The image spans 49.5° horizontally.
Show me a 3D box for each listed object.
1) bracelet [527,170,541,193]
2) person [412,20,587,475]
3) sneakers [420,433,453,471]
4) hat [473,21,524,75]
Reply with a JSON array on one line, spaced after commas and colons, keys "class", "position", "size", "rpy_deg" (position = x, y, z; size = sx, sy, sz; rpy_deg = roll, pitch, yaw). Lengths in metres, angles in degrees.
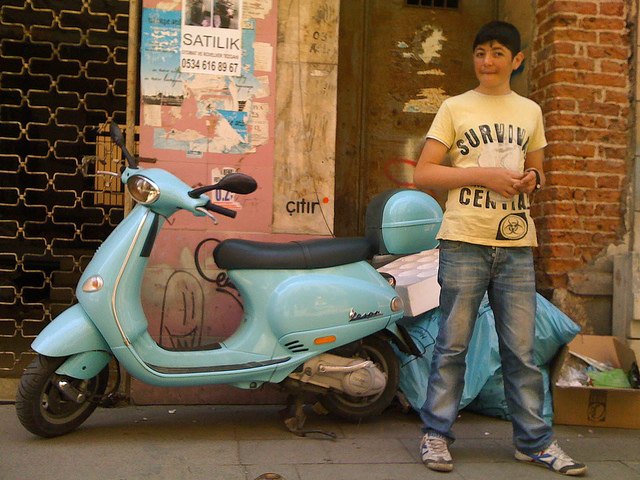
[{"class": "bracelet", "position": [1.439, -0.392, 4.612], "size": [0.055, 0.143, 0.127], "rpy_deg": [-3, 22, 1]}, {"class": "person", "position": [1.123, 0.033, 4.640], "size": [1.013, 2.965, 0.653], "rpy_deg": [2, 9, 6]}, {"class": "sneakers", "position": [0.781, 1.415, 4.650], "size": [0.215, 0.214, 0.178], "rpy_deg": [3, 9, 10]}, {"class": "hat", "position": [1.211, -1.358, 4.834], "size": [0.318, 0.402, 0.432], "rpy_deg": [2, 0, 3]}]
